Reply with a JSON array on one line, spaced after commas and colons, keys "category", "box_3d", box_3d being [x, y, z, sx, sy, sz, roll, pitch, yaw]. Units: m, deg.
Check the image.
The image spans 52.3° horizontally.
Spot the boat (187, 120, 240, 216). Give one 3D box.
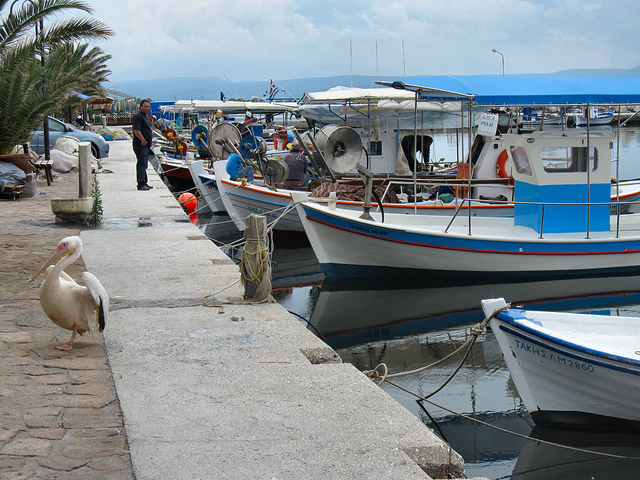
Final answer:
[{"category": "boat", "box_3d": [-3.392, -2.466, 20.816, 1.406, 1.395, 4.093, -1, 12, -5]}]

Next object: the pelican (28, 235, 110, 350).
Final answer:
[{"category": "pelican", "box_3d": [-2.504, 0.534, 6.626, 0.899, 1.158, 0.878, 1, 11, -19]}]

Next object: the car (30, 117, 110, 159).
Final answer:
[{"category": "car", "box_3d": [-9.465, -3.873, 24.764, 3.227, 0.948, 1.269, -1, 8, -17]}]

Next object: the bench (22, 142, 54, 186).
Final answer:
[{"category": "bench", "box_3d": [-8.596, -2.339, 20.193, 0.851, 1.072, 1.843, -3, 7, -22]}]

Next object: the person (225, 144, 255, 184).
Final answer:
[{"category": "person", "box_3d": [-2.140, -2.116, 18.197, 0.730, 1.056, 0.770, 9, 24, 23]}]

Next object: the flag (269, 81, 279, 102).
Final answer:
[{"category": "flag", "box_3d": [-2.911, -9.493, 41.401, 0.437, 1.162, 1.094, 4, 13, 9]}]

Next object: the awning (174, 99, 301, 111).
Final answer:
[{"category": "awning", "box_3d": [-4.516, -7.006, 34.184, 4.864, 0.560, 6.059, -5, 14, -26]}]
